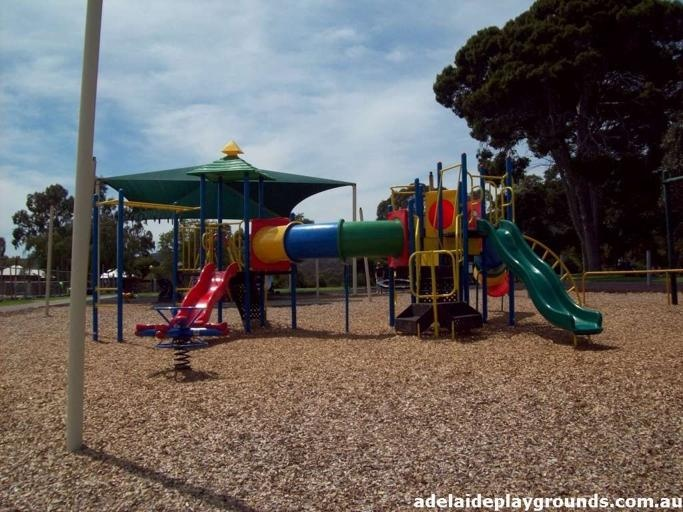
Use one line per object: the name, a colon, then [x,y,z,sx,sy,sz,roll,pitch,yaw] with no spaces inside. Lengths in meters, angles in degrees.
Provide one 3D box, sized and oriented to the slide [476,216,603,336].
slide: [3.493,0.324,11.985,0.644,1.396,2.648,-1,-1,-25]
